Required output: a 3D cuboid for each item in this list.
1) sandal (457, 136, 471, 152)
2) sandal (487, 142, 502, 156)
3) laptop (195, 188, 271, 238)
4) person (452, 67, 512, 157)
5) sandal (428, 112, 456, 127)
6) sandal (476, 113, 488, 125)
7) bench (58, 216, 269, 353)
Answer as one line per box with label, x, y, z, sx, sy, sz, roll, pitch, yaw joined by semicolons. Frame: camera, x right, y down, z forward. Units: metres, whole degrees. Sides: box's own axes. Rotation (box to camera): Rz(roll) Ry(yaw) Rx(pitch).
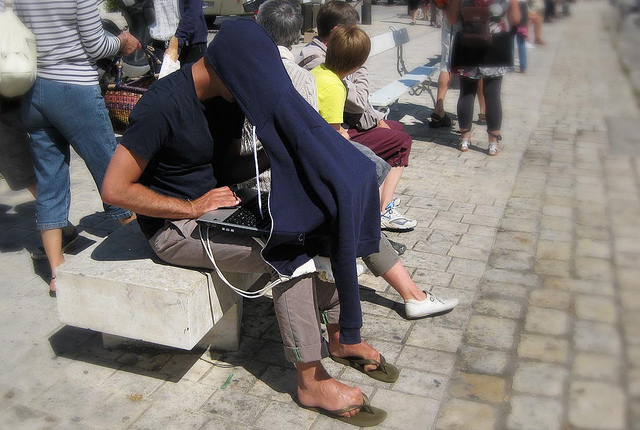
sandal;2.050;-1.013;6.548;0.131;0.170;0.166;5;32;11
sandal;2.427;-0.920;6.396;0.166;0.177;0.441;-1;10;20
laptop;-0.481;0.016;2.686;0.336;0.049;0.363;6;32;8
person;2.206;-1.618;6.531;0.697;0.504;1.968;0;59;16
sandal;2.055;-1.592;7.542;0.563;0.213;0.206;-13;27;-30
sandal;2.702;-1.611;7.672;0.151;0.151;0.318;8;32;16
bench;-0.967;0.496;3.409;1.005;0.651;1.457;7;20;22
